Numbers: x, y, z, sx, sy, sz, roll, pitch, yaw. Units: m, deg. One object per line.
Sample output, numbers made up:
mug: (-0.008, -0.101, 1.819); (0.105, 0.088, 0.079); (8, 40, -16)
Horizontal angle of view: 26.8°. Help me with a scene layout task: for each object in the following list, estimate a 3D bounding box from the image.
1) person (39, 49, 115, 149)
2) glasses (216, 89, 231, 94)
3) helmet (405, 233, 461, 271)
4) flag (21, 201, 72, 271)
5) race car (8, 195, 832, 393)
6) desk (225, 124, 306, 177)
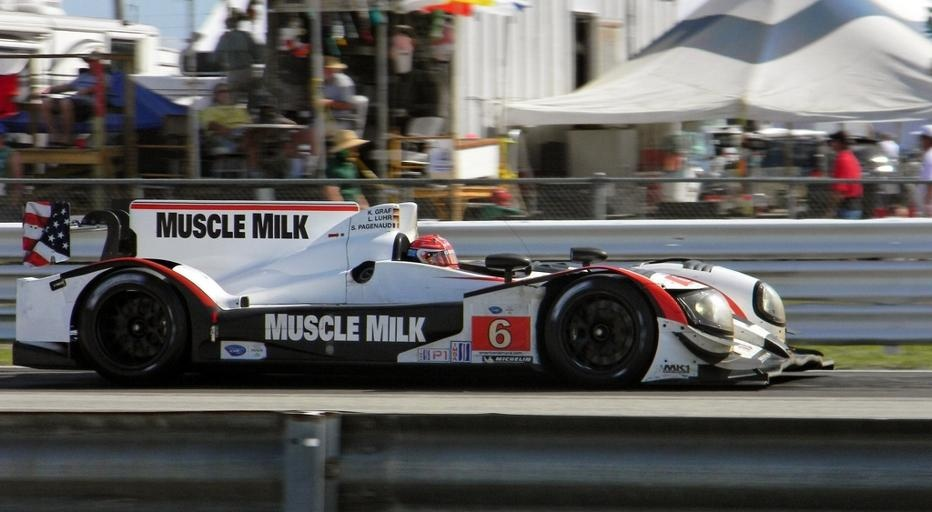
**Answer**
person: (-5.307, -2.073, 26.231); (0.848, 1.242, 0.682); (0, 1, -10)
glasses: (-3.136, -2.098, 25.036); (0.217, 0.070, 0.028); (3, 8, 36)
helmet: (-0.378, -0.052, 22.601); (0.628, 0.346, 0.373); (7, 5, 8)
flag: (-4.988, -0.231, 23.142); (0.809, 0.790, 0.407); (2, 2, 3)
race car: (-0.542, 0.194, 23.564); (8.555, 1.406, 3.996); (1, 11, 11)
desk: (-2.507, -1.317, 24.485); (1.103, 0.520, 0.743); (-2, -8, 10)
